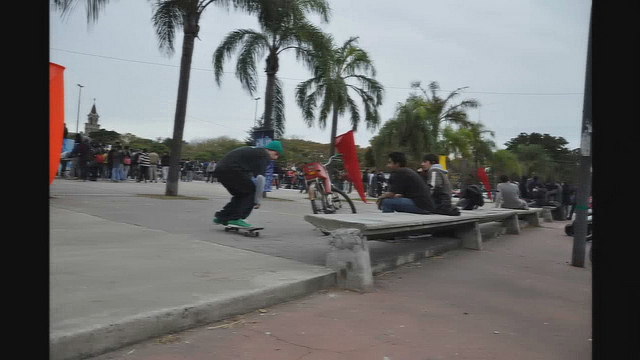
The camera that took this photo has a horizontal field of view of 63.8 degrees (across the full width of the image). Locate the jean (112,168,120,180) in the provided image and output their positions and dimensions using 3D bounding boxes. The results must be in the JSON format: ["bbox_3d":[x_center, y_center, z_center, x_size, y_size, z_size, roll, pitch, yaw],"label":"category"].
[{"bbox_3d":[-9.820,-0.271,24.859,0.350,0.626,1.098,6,6,-21],"label":"jean"}]

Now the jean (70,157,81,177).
[{"bbox_3d":[-11.068,-0.552,23.379,0.333,1.042,1.378,5,6,-28],"label":"jean"}]

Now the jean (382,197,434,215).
[{"bbox_3d":[1.406,0.445,8.641,0.620,0.149,0.338,8,-9,9],"label":"jean"}]

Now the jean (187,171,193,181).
[{"bbox_3d":[-8.528,-0.267,33.750,0.272,0.651,0.614,5,7,-26],"label":"jean"}]

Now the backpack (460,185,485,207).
[{"bbox_3d":[3.752,0.373,12.620,0.592,0.497,0.293,8,7,4],"label":"backpack"}]

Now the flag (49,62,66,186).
[{"bbox_3d":[-2.233,-0.491,4.352,0.115,0.881,1.376,6,6,-26],"label":"flag"}]

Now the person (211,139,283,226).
[{"bbox_3d":[-1.338,0.115,8.529,0.849,1.333,0.446,8,7,-5],"label":"person"}]

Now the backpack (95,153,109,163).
[{"bbox_3d":[-10.490,-1.026,24.666,0.584,0.423,0.452,-2,0,0],"label":"backpack"}]

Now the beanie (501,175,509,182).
[{"bbox_3d":[5.449,-0.037,15.159,0.167,0.166,0.185,3,4,6],"label":"beanie"}]

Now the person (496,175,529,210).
[{"bbox_3d":[5.375,0.352,14.573,1.016,0.975,0.648,-7,-8,-2],"label":"person"}]

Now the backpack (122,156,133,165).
[{"bbox_3d":[-9.247,-0.943,24.790,0.418,0.248,0.370,6,8,5],"label":"backpack"}]

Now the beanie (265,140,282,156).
[{"bbox_3d":[-0.807,-0.568,8.987,0.249,0.124,0.235,14,4,-21],"label":"beanie"}]

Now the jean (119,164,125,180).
[{"bbox_3d":[-9.615,-0.386,25.088,0.270,0.680,0.413,6,7,-20],"label":"jean"}]

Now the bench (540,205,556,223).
[{"bbox_3d":[7.634,1.174,17.332,0.638,0.510,0.642,2,4,40],"label":"bench"}]
